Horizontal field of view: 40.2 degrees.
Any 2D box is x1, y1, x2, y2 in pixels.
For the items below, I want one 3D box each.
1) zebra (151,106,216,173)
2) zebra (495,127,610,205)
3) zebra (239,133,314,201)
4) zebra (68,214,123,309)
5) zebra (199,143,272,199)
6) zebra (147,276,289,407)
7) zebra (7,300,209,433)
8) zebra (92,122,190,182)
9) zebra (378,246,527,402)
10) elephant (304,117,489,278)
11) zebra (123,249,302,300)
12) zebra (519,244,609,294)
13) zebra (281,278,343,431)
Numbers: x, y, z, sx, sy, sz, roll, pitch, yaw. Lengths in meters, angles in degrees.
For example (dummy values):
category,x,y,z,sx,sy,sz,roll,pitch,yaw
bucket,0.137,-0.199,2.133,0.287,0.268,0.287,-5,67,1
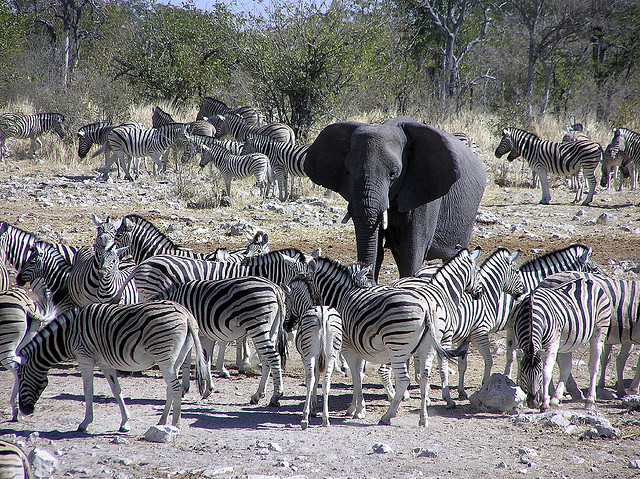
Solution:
category,x,y,z,sx,sy,sz,roll,pitch,yaw
zebra,-4.237,-2.864,25.488,1.965,1.559,0.579,20,24,18
zebra,5.178,-1.689,19.835,0.782,1.266,2.400,4,-1,-42
zebra,-0.787,-1.663,20.112,2.077,1.566,0.634,2,23,9
zebra,-3.019,0.537,11.753,0.544,1.552,1.863,8,-11,-20
zebra,-2.125,-1.576,20.068,2.518,1.122,1.223,3,-2,41
zebra,-1.447,1.181,11.353,2.082,1.980,0.662,-1,3,20
zebra,-2.542,1.574,10.417,2.332,1.659,0.696,-6,2,5
zebra,-4.474,-2.226,21.947,2.363,1.750,0.659,3,19,-11
zebra,1.694,1.156,11.508,2.255,1.902,0.668,-7,9,-9
elephant,1.241,-0.487,13.539,2.154,2.745,3.282,6,6,27
zebra,-1.511,0.635,11.835,1.551,0.826,1.596,-5,10,-33
zebra,3.264,0.358,12.069,0.872,0.729,0.673,2,5,18
zebra,-0.131,1.440,11.255,0.549,1.701,2.164,-1,-2,-10
